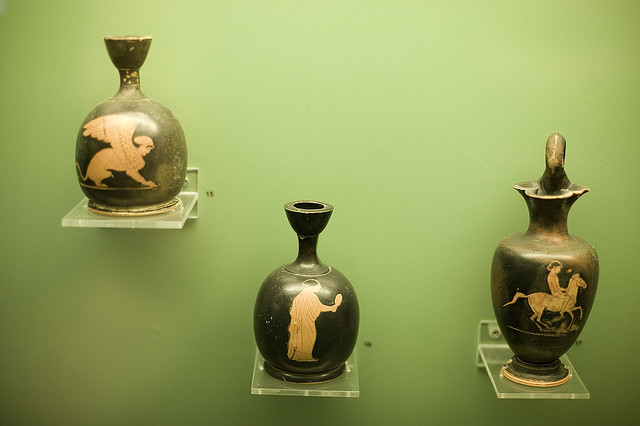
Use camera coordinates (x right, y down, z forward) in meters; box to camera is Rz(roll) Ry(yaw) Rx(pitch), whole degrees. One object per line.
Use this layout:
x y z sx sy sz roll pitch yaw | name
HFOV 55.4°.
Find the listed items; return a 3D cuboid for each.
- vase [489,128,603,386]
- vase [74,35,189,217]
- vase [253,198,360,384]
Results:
0.763 0.159 2.082 0.357 0.831 0.358 10 16 37 | vase
-0.601 -0.275 1.931 0.334 0.554 0.191 -5 13 -22 | vase
-0.052 0.265 2.106 0.391 0.569 0.375 -3 11 -25 | vase
